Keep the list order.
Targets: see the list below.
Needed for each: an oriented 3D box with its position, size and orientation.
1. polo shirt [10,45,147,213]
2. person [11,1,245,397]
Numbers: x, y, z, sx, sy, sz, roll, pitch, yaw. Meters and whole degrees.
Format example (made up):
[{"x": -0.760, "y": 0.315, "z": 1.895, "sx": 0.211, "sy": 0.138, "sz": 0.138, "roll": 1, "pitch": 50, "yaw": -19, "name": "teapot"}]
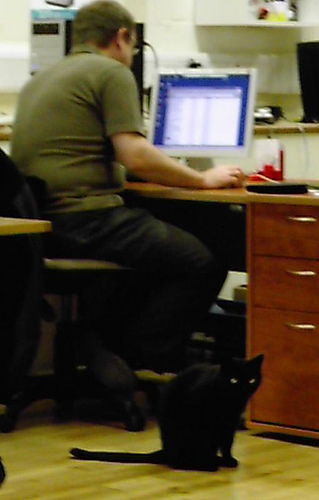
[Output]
[{"x": -0.259, "y": -0.334, "z": 1.352, "sx": 0.375, "sy": 0.427, "sz": 0.232, "roll": 13, "pitch": 20, "yaw": 31, "name": "polo shirt"}, {"x": -0.108, "y": -0.015, "z": 1.454, "sx": 0.684, "sy": 1.104, "sz": 0.326, "roll": 4, "pitch": 18, "yaw": 5, "name": "person"}]
